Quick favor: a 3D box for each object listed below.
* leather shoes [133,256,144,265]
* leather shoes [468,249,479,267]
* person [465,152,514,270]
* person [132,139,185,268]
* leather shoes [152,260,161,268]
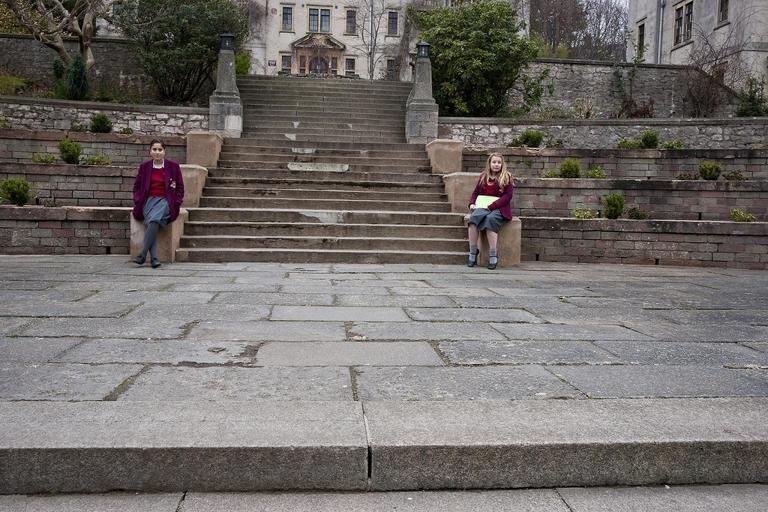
[{"bbox_3d":[-3.788,0.070,10.654,0.143,0.105,0.361,-1,1,-25],"label":"leather shoes"},{"bbox_3d":[1.484,0.022,11.714,0.114,0.141,0.352,0,51,34],"label":"leather shoes"},{"bbox_3d":[1.759,-0.766,11.659,0.705,1.847,0.820,7,16,21],"label":"person"},{"bbox_3d":[-3.571,-0.831,10.869,0.800,1.935,0.917,-3,15,-17],"label":"person"},{"bbox_3d":[-3.503,0.115,10.599,0.132,0.114,0.222,-3,15,-17],"label":"leather shoes"}]
